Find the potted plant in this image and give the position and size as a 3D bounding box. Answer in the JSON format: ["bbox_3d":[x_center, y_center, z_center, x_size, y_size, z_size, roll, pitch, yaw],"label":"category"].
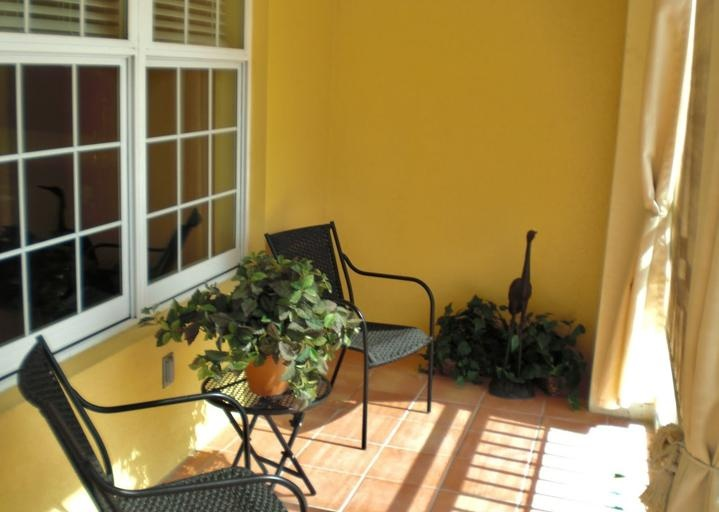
[{"bbox_3d":[-0.672,0.323,2.846,0.506,0.426,0.616,-12,5,7],"label":"potted plant"}]

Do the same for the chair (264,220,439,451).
[{"bbox_3d":[-0.058,0.476,3.698,0.874,1.252,0.739,7,12,43],"label":"chair"}]

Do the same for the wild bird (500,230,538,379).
[{"bbox_3d":[1.122,0.274,4.037,0.157,0.973,0.451,7,19,17],"label":"wild bird"}]

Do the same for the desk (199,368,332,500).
[{"bbox_3d":[-0.493,0.966,2.971,0.581,0.662,0.595,-18,-5,29],"label":"desk"}]
